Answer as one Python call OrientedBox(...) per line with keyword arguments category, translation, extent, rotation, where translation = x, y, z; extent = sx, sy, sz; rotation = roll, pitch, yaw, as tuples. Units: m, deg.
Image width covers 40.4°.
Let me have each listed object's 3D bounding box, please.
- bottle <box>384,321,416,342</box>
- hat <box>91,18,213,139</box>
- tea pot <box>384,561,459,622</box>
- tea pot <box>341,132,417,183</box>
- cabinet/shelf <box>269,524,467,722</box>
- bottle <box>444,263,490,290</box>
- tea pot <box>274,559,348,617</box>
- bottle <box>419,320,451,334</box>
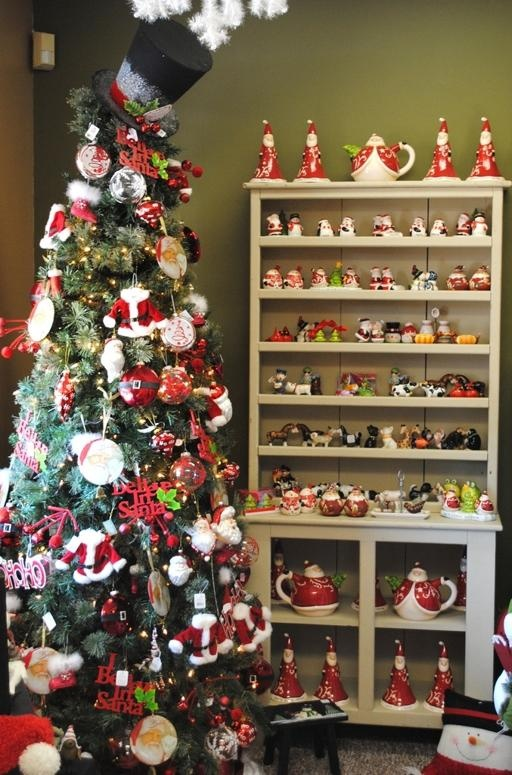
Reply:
OrientedBox(category="bottle", translation=(0.547, -0.208, 2.630), extent=(0.075, 0.061, 0.110), rotation=(0, -3, 6))
OrientedBox(category="hat", translation=(-0.267, -0.810, 1.800), extent=(0.266, 0.261, 0.197), rotation=(3, 7, 36))
OrientedBox(category="tea pot", translation=(0.599, 0.726, 2.490), extent=(0.254, 0.174, 0.191), rotation=(1, 7, 36))
OrientedBox(category="tea pot", translation=(0.469, -0.836, 2.620), extent=(0.293, 0.190, 0.200), rotation=(3, 8, 11))
OrientedBox(category="cabinet/shelf", translation=(0.417, 0.844, 2.556), extent=(0.854, 0.667, 0.294), rotation=(0, -5, 8))
OrientedBox(category="bottle", translation=(0.810, -0.381, 2.609), extent=(0.183, 0.125, 0.101), rotation=(1, 0, 15))
OrientedBox(category="tea pot", translation=(0.209, 0.737, 2.568), extent=(0.272, 0.172, 0.189), rotation=(-1, -6, -10))
OrientedBox(category="bottle", translation=(0.693, -0.222, 2.649), extent=(0.117, 0.075, 0.064), rotation=(-1, -2, 4))
